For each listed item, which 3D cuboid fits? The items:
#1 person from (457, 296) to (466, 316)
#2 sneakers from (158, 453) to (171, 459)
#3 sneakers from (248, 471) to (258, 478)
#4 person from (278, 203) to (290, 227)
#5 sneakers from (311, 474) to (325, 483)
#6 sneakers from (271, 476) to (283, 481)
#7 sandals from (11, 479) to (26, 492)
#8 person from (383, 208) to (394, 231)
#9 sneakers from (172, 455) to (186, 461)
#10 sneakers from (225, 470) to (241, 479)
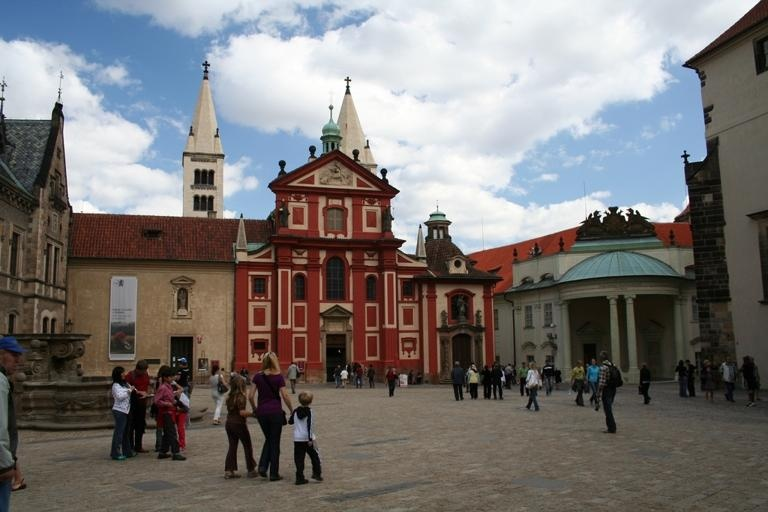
[{"bbox_3d":[5.520,3.591,53.959,0.503,1.528,0.946,-3,-12,15],"label":"person"},{"bbox_3d":[-6.143,5.606,21.272,0.317,0.205,0.123,-5,7,-25],"label":"sneakers"},{"bbox_3d":[-3.354,5.620,19.469,0.245,0.154,0.127,0,-5,-12],"label":"sneakers"},{"bbox_3d":[-6.806,-2.836,51.441,0.676,1.731,0.714,-1,-11,1],"label":"person"},{"bbox_3d":[-1.664,5.623,19.118,0.283,0.180,0.180,1,-11,-8],"label":"sneakers"},{"bbox_3d":[-2.718,5.665,19.285,0.298,0.120,0.103,1,-5,-17],"label":"sneakers"},{"bbox_3d":[-8.716,5.511,18.133,0.239,0.238,0.621,5,-9,-18],"label":"sandals"},{"bbox_3d":[0.217,-2.536,53.329,0.690,1.838,0.445,-3,-12,15],"label":"person"},{"bbox_3d":[-5.680,5.607,21.051,0.329,0.133,0.178,2,-2,-2],"label":"sneakers"},{"bbox_3d":[-3.843,5.638,19.504,0.454,0.173,0.163,2,-6,-20],"label":"sneakers"}]
